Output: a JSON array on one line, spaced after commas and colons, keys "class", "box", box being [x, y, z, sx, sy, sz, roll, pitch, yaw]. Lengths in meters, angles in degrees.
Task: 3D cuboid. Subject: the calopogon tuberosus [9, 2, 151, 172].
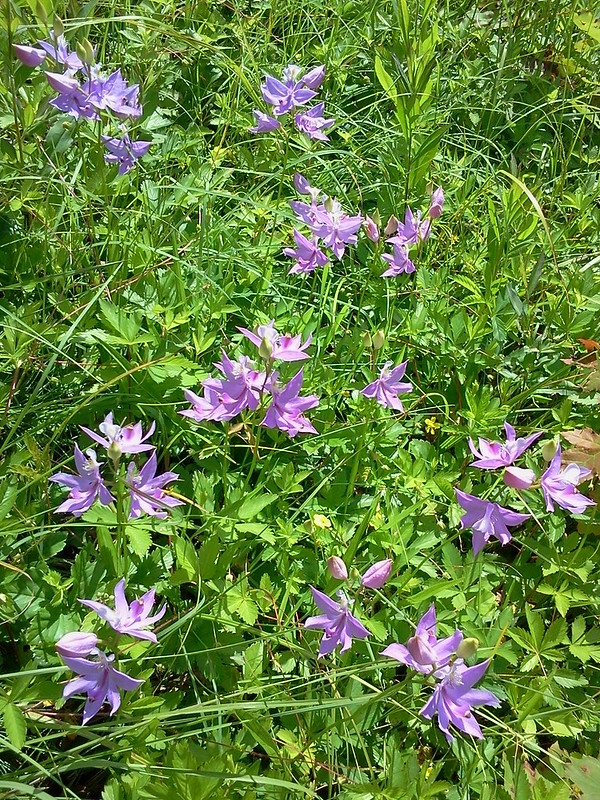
[{"class": "calopogon tuberosus", "box": [-0.595, -0.840, 1.933, 0.296, 0.525, 0.463, 5, 50, -10]}]

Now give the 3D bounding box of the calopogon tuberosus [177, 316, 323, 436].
[{"class": "calopogon tuberosus", "box": [-0.115, -0.048, 1.469, 0.278, 0.254, 0.186, 16, 2, 3]}]

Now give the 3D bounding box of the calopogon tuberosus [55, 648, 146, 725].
[{"class": "calopogon tuberosus", "box": [-0.331, 0.433, 1.091, 0.118, 0.053, 0.113, 34, 7, -25]}]

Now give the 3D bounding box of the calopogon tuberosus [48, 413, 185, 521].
[{"class": "calopogon tuberosus", "box": [-0.336, 0.127, 1.274, 0.259, 0.123, 0.232, 7, 68, -35]}]

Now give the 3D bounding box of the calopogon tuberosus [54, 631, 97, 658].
[{"class": "calopogon tuberosus", "box": [-0.349, 0.377, 1.052, 0.058, 0.040, 0.027, 4, 8, -32]}]

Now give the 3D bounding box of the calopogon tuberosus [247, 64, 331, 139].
[{"class": "calopogon tuberosus", "box": [-0.013, -0.945, 2.149, 0.242, 0.298, 0.123, 4, 32, 4]}]
